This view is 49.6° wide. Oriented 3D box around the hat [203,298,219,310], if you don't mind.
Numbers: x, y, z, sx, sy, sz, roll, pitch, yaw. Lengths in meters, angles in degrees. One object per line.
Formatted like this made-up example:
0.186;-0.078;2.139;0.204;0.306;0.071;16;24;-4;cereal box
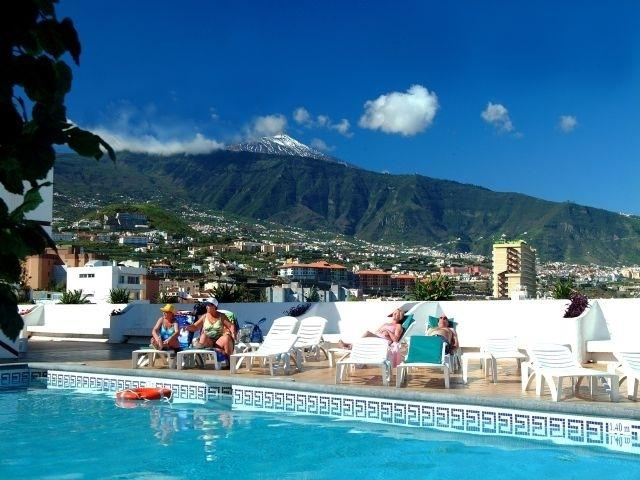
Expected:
-1.675;0.953;10.389;0.197;0.147;0.326;1;-10;16;hat

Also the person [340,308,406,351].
0.741;1.266;9.731;1.172;0.503;0.389;1;-2;-39;person

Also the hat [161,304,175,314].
-2.292;1.033;10.455;0.131;0.101;0.182;-4;-22;41;hat

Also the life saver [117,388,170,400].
-2.286;1.998;8.944;0.725;0.148;0.382;2;-8;-9;life saver

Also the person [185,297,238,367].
-1.568;1.358;10.189;0.703;0.951;0.722;-1;2;11;person

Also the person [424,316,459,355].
1.640;1.359;9.261;0.369;0.773;0.267;-6;-41;20;person
